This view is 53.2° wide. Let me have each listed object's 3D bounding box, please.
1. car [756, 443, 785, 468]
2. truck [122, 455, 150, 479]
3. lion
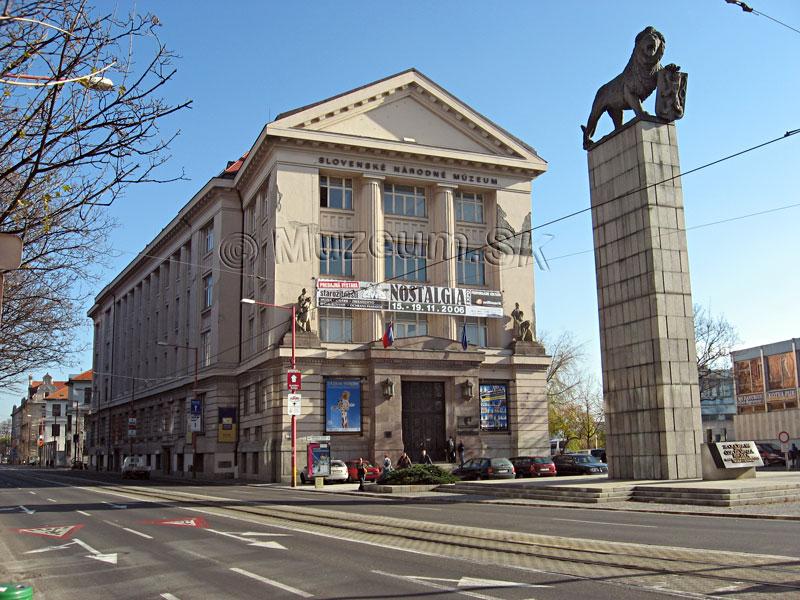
[{"bbox_3d":[26.872,11.319,57.950,1.521,1.624,1.487,-10,-18,22],"label":"car"},{"bbox_3d":[-21.640,13.798,66.385,2.215,2.016,3.882,7,-10,-40],"label":"truck"},{"bbox_3d":[10.685,-9.875,38.490,2.219,4.047,6.742,7,-7,-21],"label":"lion"}]
